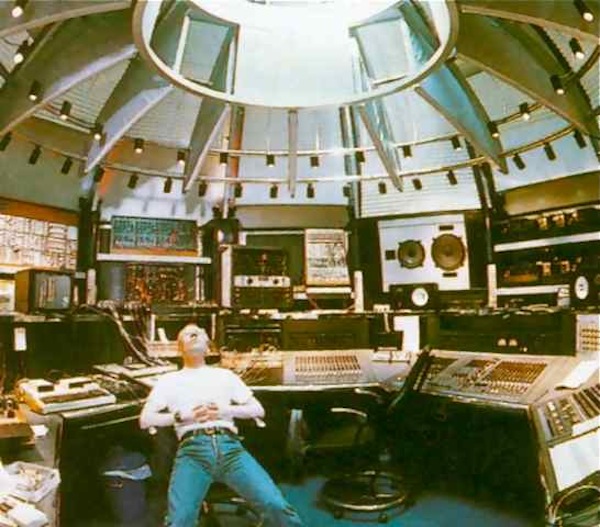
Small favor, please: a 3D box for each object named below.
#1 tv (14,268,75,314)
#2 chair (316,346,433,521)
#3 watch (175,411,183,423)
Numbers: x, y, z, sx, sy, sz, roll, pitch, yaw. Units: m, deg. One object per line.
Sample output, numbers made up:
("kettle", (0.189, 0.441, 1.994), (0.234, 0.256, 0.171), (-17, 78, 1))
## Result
("tv", (-2.155, 0.228, 4.100), (0.325, 0.455, 0.500), (-1, -2, 33))
("chair", (0.725, 1.556, 4.975), (1.312, 2.013, 1.184), (-1, -6, 19))
("watch", (-0.869, 1.098, 3.414), (0.057, 0.109, 0.056), (-1, 1, -5))
